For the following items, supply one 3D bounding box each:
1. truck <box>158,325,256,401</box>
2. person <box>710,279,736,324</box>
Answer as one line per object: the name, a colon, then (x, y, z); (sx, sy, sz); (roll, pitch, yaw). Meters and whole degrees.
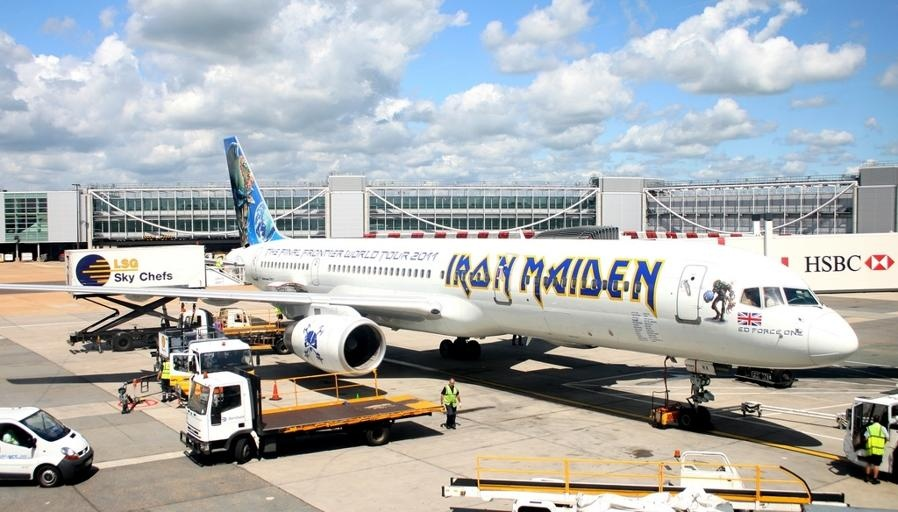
truck: (-13.111, 5.480, 34.902); (3.823, 2.144, 5.965); (1, -3, -32)
person: (11.747, 1.894, 28.807); (0.972, 1.675, 0.741); (7, 16, 31)
